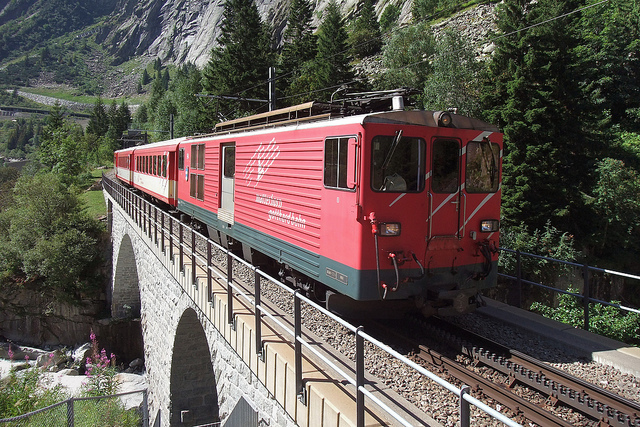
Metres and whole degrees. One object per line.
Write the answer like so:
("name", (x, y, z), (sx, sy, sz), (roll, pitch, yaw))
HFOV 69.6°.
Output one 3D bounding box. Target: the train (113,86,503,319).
("train", (-2.320, -1.569, 19.719), (5.327, 5.101, 20.198), (-1, 10, -25))
